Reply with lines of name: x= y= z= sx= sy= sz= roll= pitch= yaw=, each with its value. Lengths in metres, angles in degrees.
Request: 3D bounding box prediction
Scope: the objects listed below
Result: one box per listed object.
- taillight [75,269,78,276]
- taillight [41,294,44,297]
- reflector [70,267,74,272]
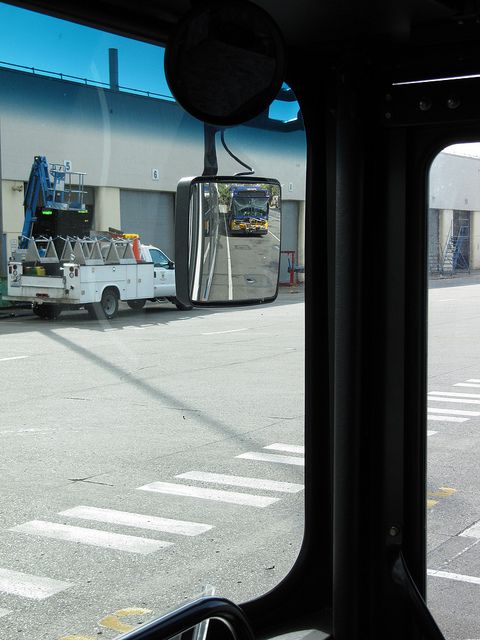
taillight: x=-3.749 y=-1.068 z=13.669 sx=0.063 sy=0.148 sz=0.019 roll=1 pitch=6 yaw=-11
taillight: x=-4.742 y=-0.562 z=14.308 sx=0.046 sy=0.058 sz=0.012 roll=13 pitch=-2 yaw=-15
reflector: x=-3.845 y=-1.125 z=13.660 sx=0.068 sy=0.083 sz=0.019 roll=19 pitch=6 yaw=-4
